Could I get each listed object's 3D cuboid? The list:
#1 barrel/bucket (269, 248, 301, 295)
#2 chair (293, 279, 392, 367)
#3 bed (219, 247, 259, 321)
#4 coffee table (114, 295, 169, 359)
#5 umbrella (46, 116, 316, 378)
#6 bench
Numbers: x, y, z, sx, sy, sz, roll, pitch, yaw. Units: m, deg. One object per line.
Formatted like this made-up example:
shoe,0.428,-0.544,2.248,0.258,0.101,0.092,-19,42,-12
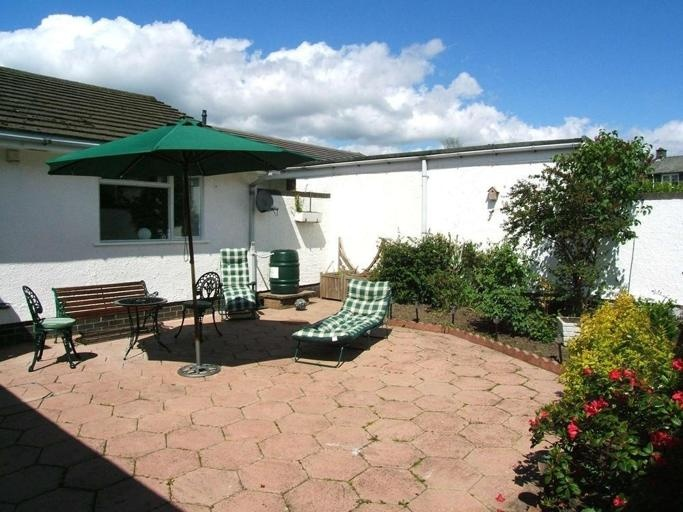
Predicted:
barrel/bucket,-1.334,0.404,11.214,0.800,0.969,0.779,-1,-1,0
chair,0.089,1.054,7.933,1.112,0.888,1.862,3,10,31
bed,-2.226,0.497,9.762,0.880,1.117,1.716,-1,8,-14
coffee table,-3.355,1.152,7.908,0.775,0.733,0.789,-4,-4,39
umbrella,-2.361,-0.169,7.174,3.109,3.717,2.254,4,13,17
bench,-4.175,0.964,8.290,0.619,0.780,1.563,13,12,43
